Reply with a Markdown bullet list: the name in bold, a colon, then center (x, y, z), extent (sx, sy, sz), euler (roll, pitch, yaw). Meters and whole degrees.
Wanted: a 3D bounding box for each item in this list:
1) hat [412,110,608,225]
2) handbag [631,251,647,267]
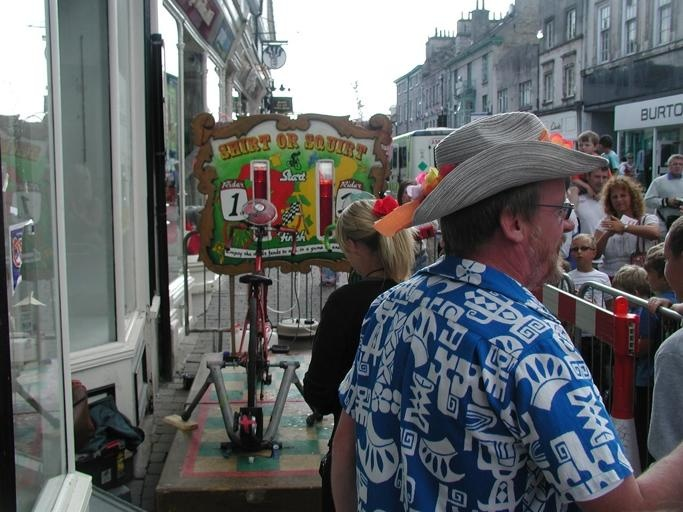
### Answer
- **hat**: center (0.512, -0.277, 2.245), extent (0.435, 0.193, 0.408), euler (-22, -5, -8)
- **handbag**: center (2.901, 0.022, 6.777), extent (0.129, 0.147, 0.106), euler (-4, 10, 2)
